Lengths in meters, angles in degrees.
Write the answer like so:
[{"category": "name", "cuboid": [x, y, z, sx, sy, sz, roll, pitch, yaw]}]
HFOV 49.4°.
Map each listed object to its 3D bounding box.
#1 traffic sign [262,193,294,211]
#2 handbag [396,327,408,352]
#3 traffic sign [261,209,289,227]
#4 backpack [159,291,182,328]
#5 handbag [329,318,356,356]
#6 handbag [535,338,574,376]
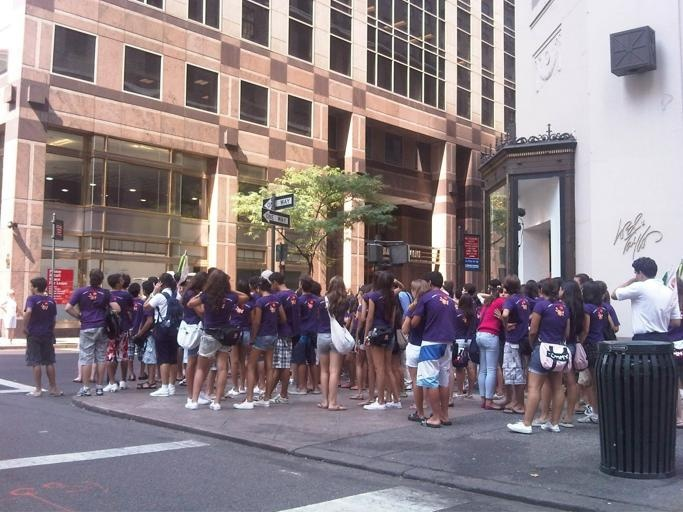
[{"category": "traffic sign", "cuboid": [-1.582, -1.321, 18.438, 0.748, 0.489, 0.638, 0, -8, -9]}, {"category": "handbag", "cuboid": [1.157, 1.588, 14.463, 0.192, 0.476, 0.433, -8, -13, -1]}, {"category": "traffic sign", "cuboid": [-1.630, -0.958, 18.320, 0.463, 0.416, 0.979, -2, -8, 10]}, {"category": "backpack", "cuboid": [-3.672, 1.154, 15.793, 0.400, 0.746, 0.545, -9, -16, 18]}, {"category": "handbag", "cuboid": [-0.012, 1.647, 15.168, 0.390, 0.746, 0.611, -30, -44, 11]}, {"category": "handbag", "cuboid": [3.609, 1.730, 12.580, 0.707, 0.736, 0.423, 5, -15, -11]}]
